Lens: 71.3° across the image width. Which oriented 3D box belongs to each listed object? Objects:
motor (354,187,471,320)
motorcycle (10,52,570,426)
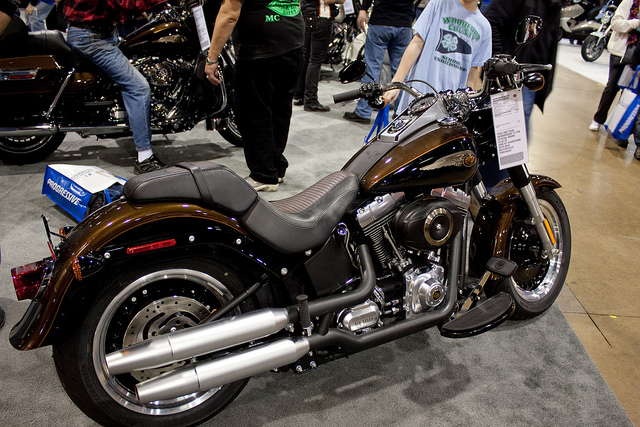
[{"bbox_3d":[0.646,0.202,2.816,0.785,0.882,0.443,-16,25,-9],"label":"motor"},{"bbox_3d":[0.005,0.250,2.532,3.226,1.763,0.933,-13,38,-20],"label":"motorcycle"}]
